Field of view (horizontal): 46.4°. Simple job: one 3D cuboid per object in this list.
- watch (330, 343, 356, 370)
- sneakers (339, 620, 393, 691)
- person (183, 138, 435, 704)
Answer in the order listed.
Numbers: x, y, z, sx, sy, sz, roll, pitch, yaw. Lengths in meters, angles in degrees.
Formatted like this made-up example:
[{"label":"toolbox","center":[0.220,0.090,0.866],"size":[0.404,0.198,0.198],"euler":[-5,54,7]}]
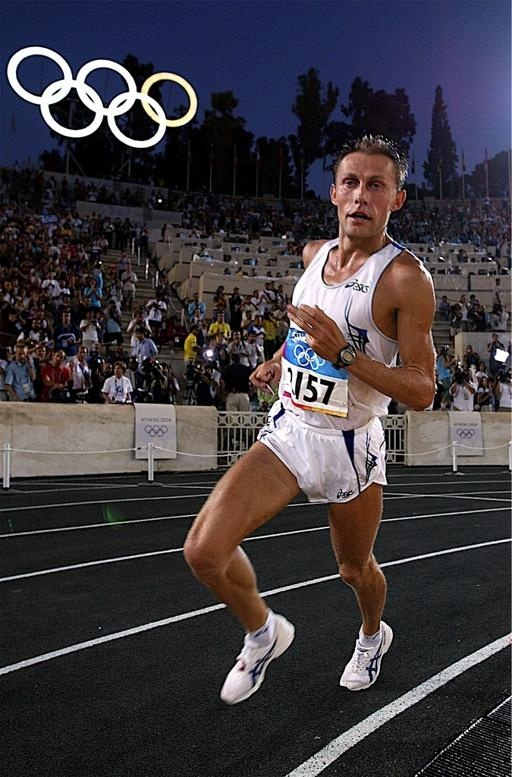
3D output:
[{"label":"watch","center":[0.289,-0.104,1.980],"size":[0.056,0.087,0.079],"euler":[25,-8,-11]},{"label":"sneakers","center":[0.458,1.163,2.587],"size":[0.128,0.365,0.153],"euler":[17,-20,38]},{"label":"person","center":[0.276,0.179,2.309],"size":[1.093,2.102,0.827],"euler":[-1,5,-42]}]
